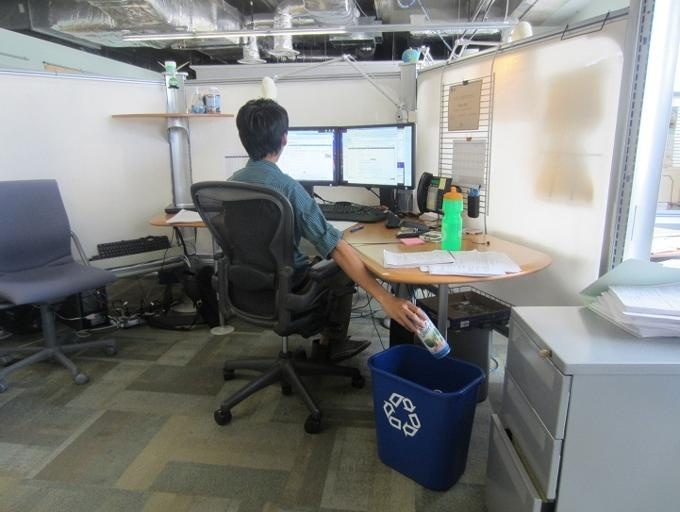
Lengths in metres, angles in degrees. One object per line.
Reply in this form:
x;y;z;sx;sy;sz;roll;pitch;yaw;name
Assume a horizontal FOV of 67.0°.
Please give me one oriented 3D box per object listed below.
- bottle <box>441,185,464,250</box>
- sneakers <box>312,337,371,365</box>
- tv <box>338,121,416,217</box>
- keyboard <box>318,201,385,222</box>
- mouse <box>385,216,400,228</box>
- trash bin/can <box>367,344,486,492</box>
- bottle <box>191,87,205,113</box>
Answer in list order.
0.506;-0.161;2.336;0.090;0.269;0.238;0;16;11;bottle
-0.029;0.559;2.955;0.227;0.080;0.151;-12;12;3;sneakers
0.222;-0.512;3.004;0.659;0.647;0.238;6;11;32;tv
0.064;-0.239;2.930;0.259;0.046;0.181;14;18;42;keyboard
0.273;-0.177;2.703;0.073;0.026;0.071;-3;29;-10;mouse
0.340;0.684;2.069;0.329;0.492;0.521;-10;15;-41;trash bin/can
-0.991;-1.080;3.550;0.091;0.179;0.290;-7;16;-14;bottle
